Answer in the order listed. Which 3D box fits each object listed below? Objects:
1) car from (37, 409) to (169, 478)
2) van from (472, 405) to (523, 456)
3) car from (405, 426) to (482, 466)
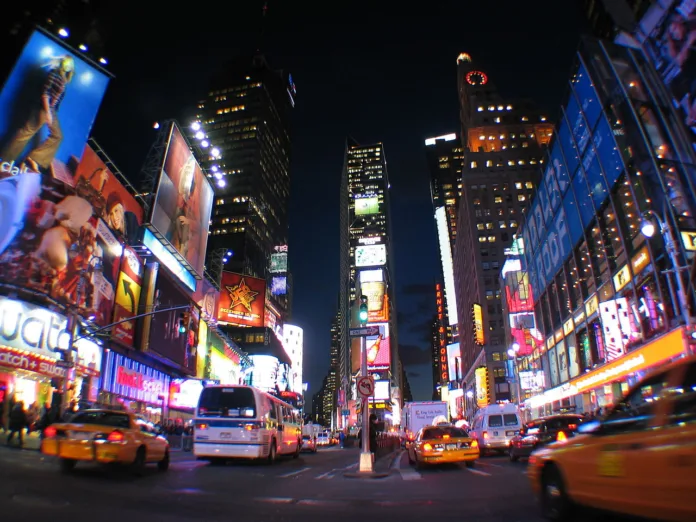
[{"bbox_3d":[-7.376,5.517,16.628,1.804,1.305,4.103,1,-14,2],"label":"car"},{"bbox_3d":[8.069,9.040,28.284,1.877,2.013,3.481,-1,-16,0],"label":"van"},{"bbox_3d":[3.823,7.351,20.841,2.275,1.652,2.549,2,-25,-2],"label":"car"}]
